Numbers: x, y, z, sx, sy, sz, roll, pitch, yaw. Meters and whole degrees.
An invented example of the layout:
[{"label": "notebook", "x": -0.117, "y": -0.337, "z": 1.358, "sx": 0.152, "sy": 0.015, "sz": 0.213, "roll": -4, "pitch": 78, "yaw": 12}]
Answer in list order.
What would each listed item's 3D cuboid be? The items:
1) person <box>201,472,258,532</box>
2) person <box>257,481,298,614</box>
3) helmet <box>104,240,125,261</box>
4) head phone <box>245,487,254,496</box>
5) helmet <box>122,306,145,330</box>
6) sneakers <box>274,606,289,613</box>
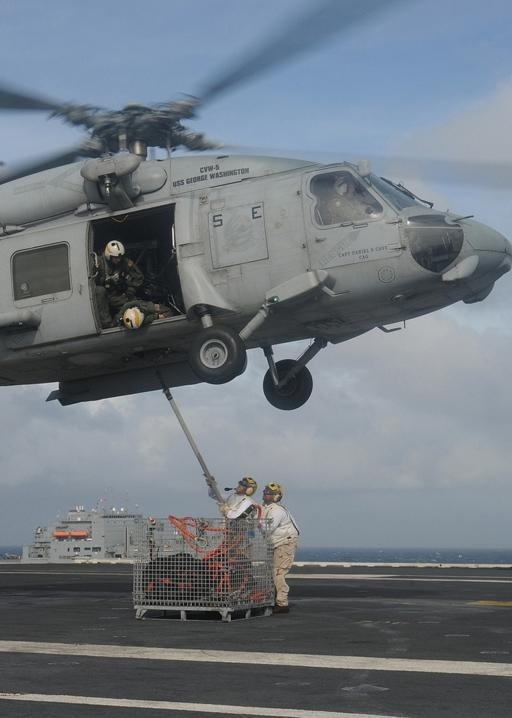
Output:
[{"label": "person", "x": -0.249, "y": 1.990, "z": 13.418, "sx": 0.606, "sy": 0.728, "sz": 1.386, "roll": -3, "pitch": -13, "yaw": 1}, {"label": "person", "x": 0.359, "y": 2.651, "z": 13.773, "sx": 0.482, "sy": 1.774, "sz": 0.568, "roll": -3, "pitch": -16, "yaw": -1}, {"label": "helmet", "x": -2.484, "y": -1.939, "z": 17.247, "sx": 0.340, "sy": 0.286, "sz": 0.416, "roll": -7, "pitch": 22, "yaw": -23}, {"label": "head phone", "x": -0.076, "y": 1.853, "z": 13.709, "sx": 0.145, "sy": 0.117, "sz": 0.105, "roll": 1, "pitch": 10, "yaw": -26}, {"label": "helmet", "x": -2.143, "y": -0.742, "z": 17.014, "sx": 0.382, "sy": 0.428, "sz": 0.396, "roll": -1, "pitch": -14, "yaw": -7}, {"label": "sneakers", "x": 0.342, "y": 3.454, "z": 13.417, "sx": 0.196, "sy": 0.087, "sz": 0.071, "roll": -3, "pitch": -15, "yaw": 3}]
